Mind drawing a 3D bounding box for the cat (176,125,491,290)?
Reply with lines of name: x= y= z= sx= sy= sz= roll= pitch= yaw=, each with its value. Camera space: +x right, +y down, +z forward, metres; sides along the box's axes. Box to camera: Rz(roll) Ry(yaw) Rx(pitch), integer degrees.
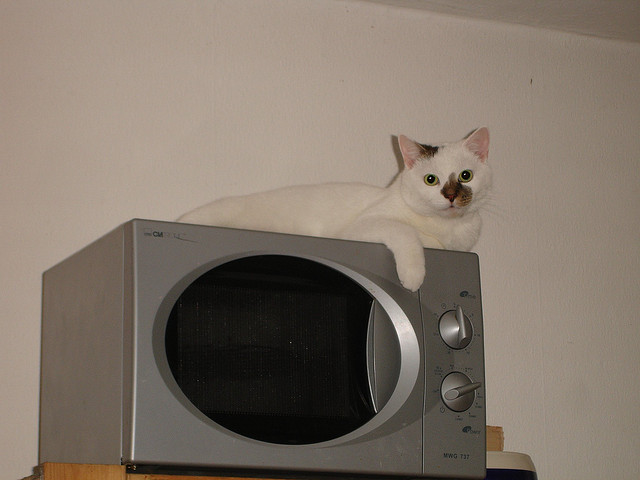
cat: x=0.043 y=-0.089 z=2.125 sx=0.649 sy=0.391 sz=0.374 roll=5 pitch=6 yaw=1
